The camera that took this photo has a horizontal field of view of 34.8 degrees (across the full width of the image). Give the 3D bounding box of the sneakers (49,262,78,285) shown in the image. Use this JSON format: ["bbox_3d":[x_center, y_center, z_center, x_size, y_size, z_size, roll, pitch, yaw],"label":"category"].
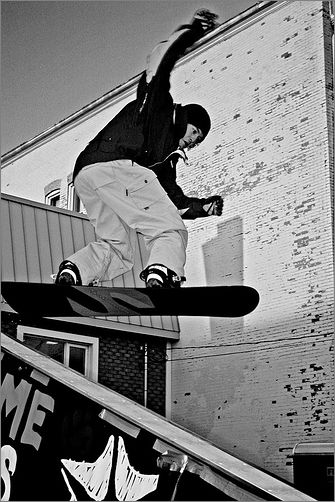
[{"bbox_3d":[-1.122,0.277,5.976,0.219,0.162,0.297,3,-18,-9],"label":"sneakers"}]
